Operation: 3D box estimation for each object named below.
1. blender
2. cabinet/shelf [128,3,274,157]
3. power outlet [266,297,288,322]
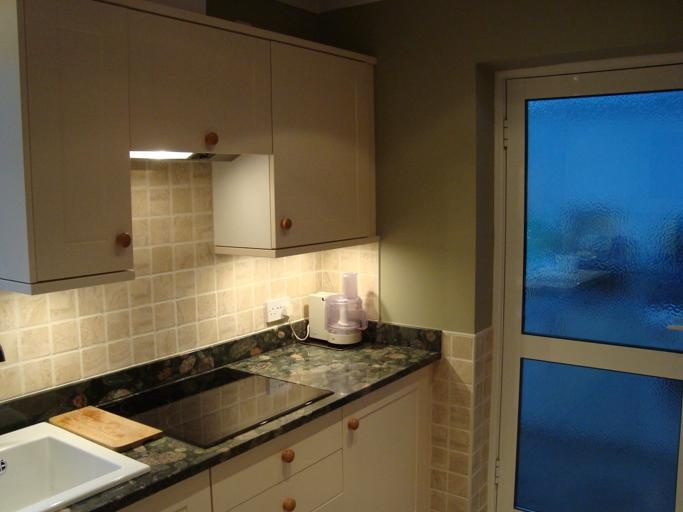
[{"bbox_3d":[-0.012,0.266,3.006,0.307,0.352,0.198,5,8,31],"label":"blender"},{"bbox_3d":[-0.679,-0.607,2.299,0.372,0.530,0.794,3,6,37],"label":"cabinet/shelf"},{"bbox_3d":[-0.335,0.269,2.891,0.035,0.087,0.116,2,7,28],"label":"power outlet"}]
